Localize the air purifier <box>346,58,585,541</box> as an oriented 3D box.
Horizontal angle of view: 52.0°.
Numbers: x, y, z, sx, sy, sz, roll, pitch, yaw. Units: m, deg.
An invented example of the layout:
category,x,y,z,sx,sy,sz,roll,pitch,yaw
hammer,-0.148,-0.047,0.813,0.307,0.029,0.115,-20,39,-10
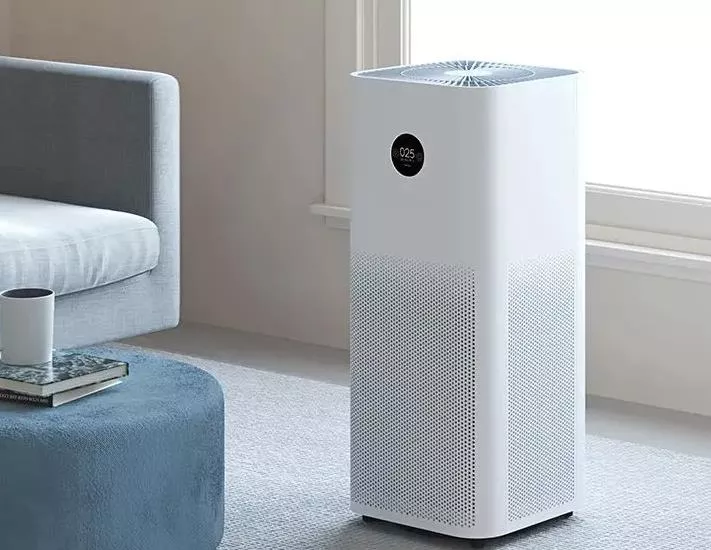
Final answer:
category,x,y,z,sx,sy,sz,roll,pitch,yaw
air purifier,0.249,0.078,1.629,0.495,0.929,0.465,2,5,27
